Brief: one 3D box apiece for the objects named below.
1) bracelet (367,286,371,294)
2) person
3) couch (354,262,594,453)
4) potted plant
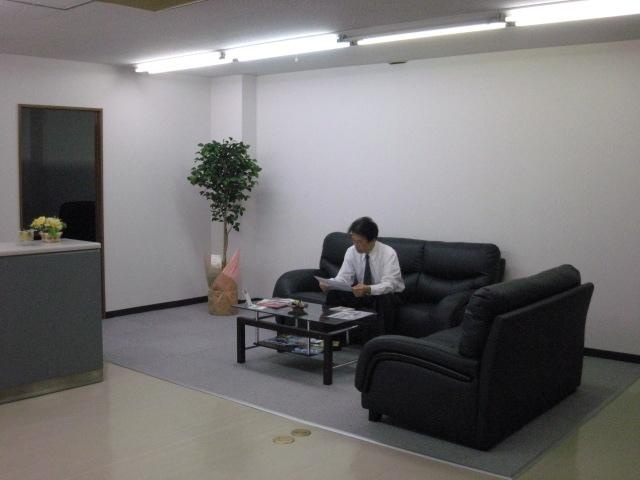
[{"bbox_3d":[0.548,0.562,5.228,0.059,0.069,0.070,0,1,7],"label":"bracelet"},{"bbox_3d":[0.560,0.571,5.539,1.134,1.575,0.865,-5,7,-38],"label":"person"},{"bbox_3d":[1.233,0.657,3.936,1.259,1.295,1.913,3,6,44],"label":"couch"},{"bbox_3d":[-1.496,-0.254,7.302,1.036,2.700,0.965,-2,8,-20],"label":"potted plant"}]
